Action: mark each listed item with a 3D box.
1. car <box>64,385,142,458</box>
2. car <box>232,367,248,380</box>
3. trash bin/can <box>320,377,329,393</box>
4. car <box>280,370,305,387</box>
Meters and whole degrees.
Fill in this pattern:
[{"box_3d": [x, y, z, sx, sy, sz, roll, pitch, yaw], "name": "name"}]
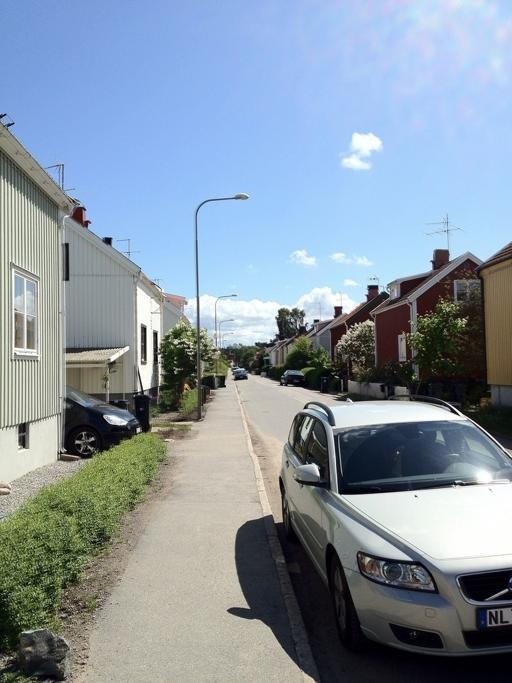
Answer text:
[{"box_3d": [-2.807, 1.508, 11.310, 1.536, 0.756, 0.883, -2, -3, 8], "name": "car"}, {"box_3d": [-2.284, 4.275, 82.531, 1.576, 1.201, 3.539, -1, -5, -5], "name": "car"}, {"box_3d": [4.174, 2.744, 39.721, 0.708, 1.163, 0.718, 0, 1, 11], "name": "trash bin/can"}, {"box_3d": [2.995, 3.060, 51.315, 1.185, 0.962, 2.895, 1, 3, -2], "name": "car"}]
